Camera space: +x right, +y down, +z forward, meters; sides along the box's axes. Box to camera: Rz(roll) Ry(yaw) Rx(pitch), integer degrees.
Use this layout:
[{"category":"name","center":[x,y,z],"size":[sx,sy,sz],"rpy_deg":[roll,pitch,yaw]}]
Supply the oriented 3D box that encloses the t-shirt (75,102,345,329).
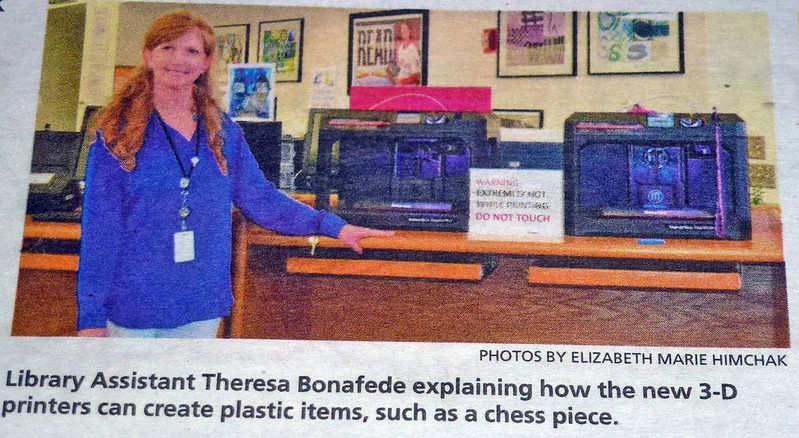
[{"category":"t-shirt","center":[-1.091,0.027,4.590],"size":[1.756,1.181,0.547],"rpy_deg":[0,-3,-23]}]
